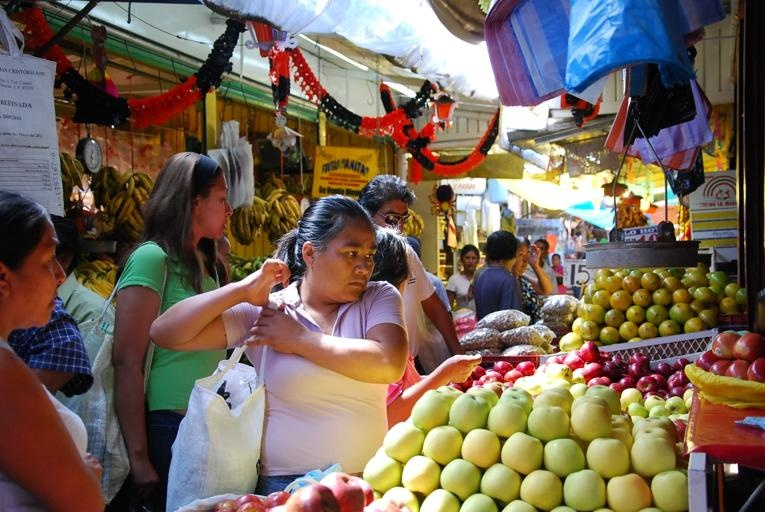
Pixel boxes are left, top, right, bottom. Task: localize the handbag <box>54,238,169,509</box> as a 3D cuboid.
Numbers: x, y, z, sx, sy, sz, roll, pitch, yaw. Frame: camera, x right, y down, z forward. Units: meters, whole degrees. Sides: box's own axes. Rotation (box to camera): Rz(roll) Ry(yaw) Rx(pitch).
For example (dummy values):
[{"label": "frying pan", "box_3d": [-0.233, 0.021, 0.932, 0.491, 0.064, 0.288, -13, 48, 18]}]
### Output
[{"label": "handbag", "box_3d": [-1.389, 0.630, 3.294, 0.521, 1.381, 0.522, 2, -15, 21]}]
